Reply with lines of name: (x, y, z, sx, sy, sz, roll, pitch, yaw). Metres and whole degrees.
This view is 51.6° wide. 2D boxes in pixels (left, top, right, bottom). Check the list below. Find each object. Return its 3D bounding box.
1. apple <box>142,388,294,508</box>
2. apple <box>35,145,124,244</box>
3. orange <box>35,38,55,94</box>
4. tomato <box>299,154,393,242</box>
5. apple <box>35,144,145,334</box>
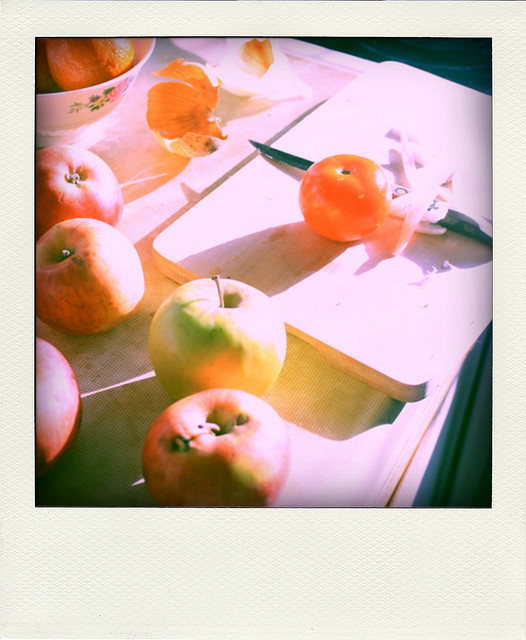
apple: (-0.072, 0.217, 0.885, 0.245, 0.211, 0.091, 10, 17, 5)
apple: (-0.327, -0.246, 0.988, 0.158, 0.154, 0.158, -4, 13, -23)
orange: (-0.373, -0.434, 0.934, 0.031, 0.092, 0.030, 1, 18, -21)
tomato: (0.138, -0.209, 0.925, 0.183, 0.128, 0.137, 4, 37, 7)
apple: (-0.296, -0.135, 0.929, 0.207, 0.303, 0.119, 7, 17, -5)
